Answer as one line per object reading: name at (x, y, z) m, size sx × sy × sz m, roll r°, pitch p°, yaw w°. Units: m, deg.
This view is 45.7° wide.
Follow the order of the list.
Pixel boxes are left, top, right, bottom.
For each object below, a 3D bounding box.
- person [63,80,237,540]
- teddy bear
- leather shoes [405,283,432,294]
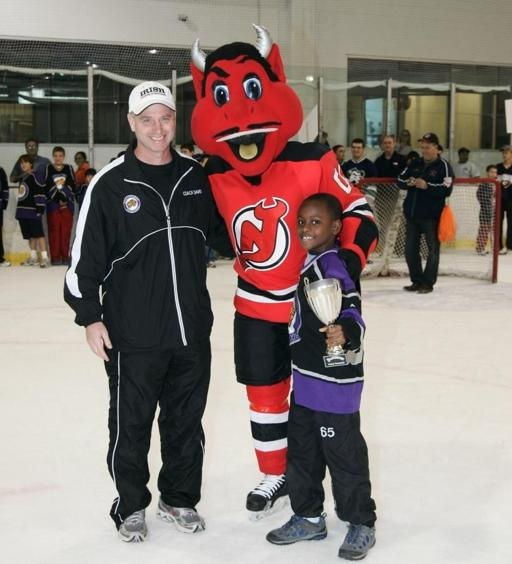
person at (-0.328, 0.090, 1.936) m, size 0.524 × 1.428 × 0.335 m, roll -4°, pitch 10°, yaw -18°
teddy bear at (0.063, -0.014, 2.172) m, size 0.625 × 1.637 × 0.607 m, roll 0°, pitch 4°, yaw -7°
leather shoes at (1.925, 0.076, 7.286) m, size 0.327 × 0.120 × 0.121 m, roll 1°, pitch 8°, yaw 42°
